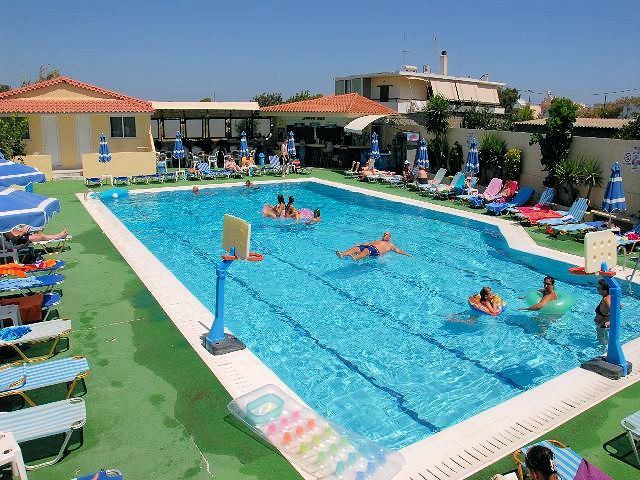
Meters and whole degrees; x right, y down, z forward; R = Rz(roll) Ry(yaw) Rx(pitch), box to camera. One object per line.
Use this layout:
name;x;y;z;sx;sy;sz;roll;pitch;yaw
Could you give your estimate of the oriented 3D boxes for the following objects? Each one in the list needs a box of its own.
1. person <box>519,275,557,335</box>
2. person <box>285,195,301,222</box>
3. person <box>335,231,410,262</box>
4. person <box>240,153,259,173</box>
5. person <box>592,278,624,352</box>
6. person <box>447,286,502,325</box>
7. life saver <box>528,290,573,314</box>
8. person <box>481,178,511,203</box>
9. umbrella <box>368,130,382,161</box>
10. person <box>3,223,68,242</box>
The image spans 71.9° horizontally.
person;4.806;1.469;9.727;0.495;0.476;1.108;4;30;33
person;-0.915;-1.147;17.017;0.394;1.108;0.739;-4;5;7
person;1.584;0.260;13.296;1.250;0.322;1.184;-12;20;-43
person;-4.393;-4.655;27.248;1.117;0.481;1.411;-7;31;-31
person;4.856;1.335;7.588;0.243;1.319;0.881;8;18;32
person;3.507;1.493;9.721;1.106;0.370;0.759;-27;43;-26
life saver;5.013;1.351;9.599;0.889;0.386;0.587;4;15;22
person;7.511;-2.015;18.823;1.117;0.543;1.386;15;33;37
umbrella;3.159;-5.429;25.672;0.529;1.446;1.364;1;15;11
person;-7.333;-0.108;11.322;0.991;0.288;0.880;4;13;-44
